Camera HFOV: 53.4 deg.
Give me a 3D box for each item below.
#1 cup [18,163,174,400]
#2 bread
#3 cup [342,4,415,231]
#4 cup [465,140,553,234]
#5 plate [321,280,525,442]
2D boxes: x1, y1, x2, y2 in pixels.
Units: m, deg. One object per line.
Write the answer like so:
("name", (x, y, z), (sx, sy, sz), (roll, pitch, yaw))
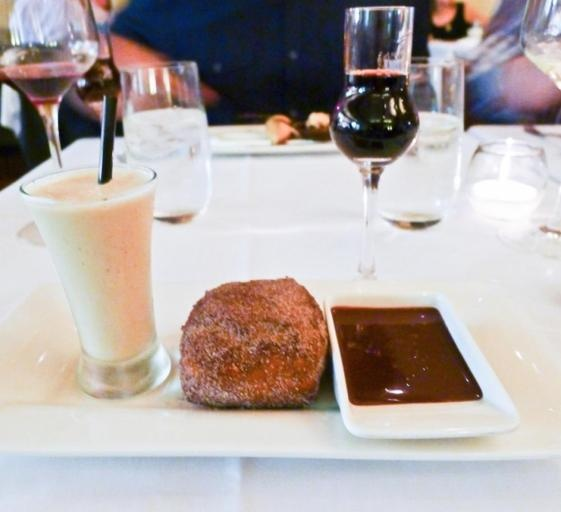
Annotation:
("cup", (-0.220, 0.032, 0.724), (0.160, 0.263, 0.153), (-3, 24, 1))
("bread", (-0.030, 0.103, 0.679), (0.179, 0.096, 0.148), (-1, 30, -2))
("cup", (0.150, -0.199, 0.877), (0.127, 0.358, 0.146), (7, 31, 12))
("cup", (0.416, -0.139, 1.031), (0.152, 0.154, 0.153), (-1, 21, 0))
("plate", (0.150, 0.126, 0.674), (0.192, 0.048, 0.274), (5, 26, -2))
